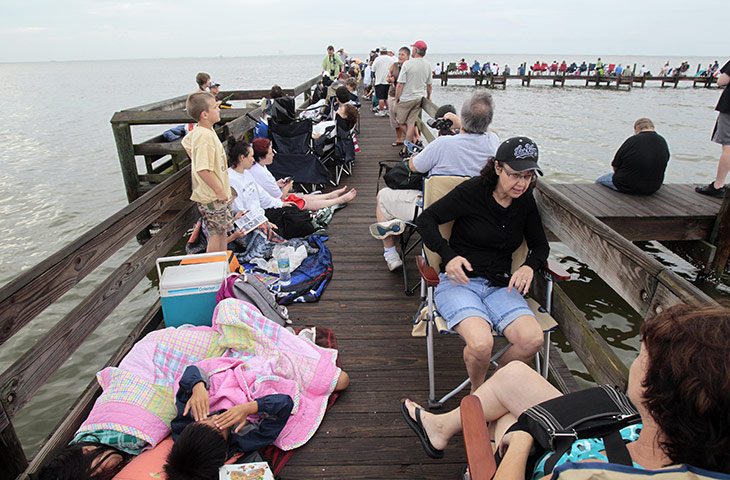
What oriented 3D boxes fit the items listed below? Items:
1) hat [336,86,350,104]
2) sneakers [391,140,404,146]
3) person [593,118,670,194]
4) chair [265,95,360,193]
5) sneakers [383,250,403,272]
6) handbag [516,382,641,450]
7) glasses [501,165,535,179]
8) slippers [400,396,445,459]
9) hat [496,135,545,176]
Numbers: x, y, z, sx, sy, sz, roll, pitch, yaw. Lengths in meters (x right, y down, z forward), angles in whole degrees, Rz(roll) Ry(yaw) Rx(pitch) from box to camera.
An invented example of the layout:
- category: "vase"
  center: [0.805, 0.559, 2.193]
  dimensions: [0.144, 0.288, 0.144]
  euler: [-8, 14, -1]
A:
- category: "hat"
  center: [-0.389, -2.595, 8.166]
  dimensions: [0.272, 0.317, 0.311]
  euler: [1, 54, -1]
- category: "sneakers"
  center: [0.652, -1.931, 9.279]
  dimensions: [0.167, 0.102, 0.417]
  euler: [1, 5, 17]
- category: "person"
  center: [4.011, -1.242, 6.976]
  dimensions: [0.877, 1.259, 1.180]
  euler: [0, 18, 6]
- category: "chair"
  center: [-0.794, -1.457, 7.323]
  dimensions: [1.143, 1.007, 1.552]
  euler: [3, 32, 4]
- category: "sneakers"
  center: [0.296, 0.207, 4.851]
  dimensions: [0.116, 0.116, 0.279]
  euler: [-27, 12, 0]
- category: "handbag"
  center: [0.987, 0.809, 2.161]
  dimensions: [0.414, 0.139, 0.285]
  euler: [-17, 17, 6]
- category: "glasses"
  center: [1.104, -0.490, 3.424]
  dimensions: [0.135, 0.057, 0.159]
  euler: [-1, 32, -8]
- category: "slippers"
  center: [0.363, 1.241, 3.154]
  dimensions: [0.120, 0.409, 0.167]
  euler: [-32, -24, 23]
- category: "hat"
  center: [1.100, -0.630, 3.452]
  dimensions: [0.258, 0.186, 0.353]
  euler: [1, 22, -23]
